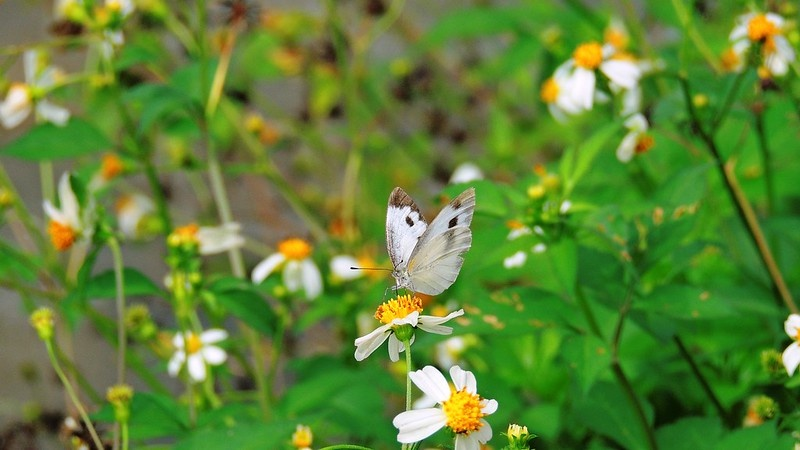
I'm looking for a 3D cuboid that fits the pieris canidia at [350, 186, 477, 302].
[{"bbox_3d":[0.047,0.048,1.926,0.255,0.258,0.239,13,23,-4],"label":"pieris canidia"}]

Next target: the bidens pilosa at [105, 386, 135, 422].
[{"bbox_3d":[-0.657,0.418,1.790,0.073,0.093,0.069,-2,-6,-28],"label":"bidens pilosa"}]
